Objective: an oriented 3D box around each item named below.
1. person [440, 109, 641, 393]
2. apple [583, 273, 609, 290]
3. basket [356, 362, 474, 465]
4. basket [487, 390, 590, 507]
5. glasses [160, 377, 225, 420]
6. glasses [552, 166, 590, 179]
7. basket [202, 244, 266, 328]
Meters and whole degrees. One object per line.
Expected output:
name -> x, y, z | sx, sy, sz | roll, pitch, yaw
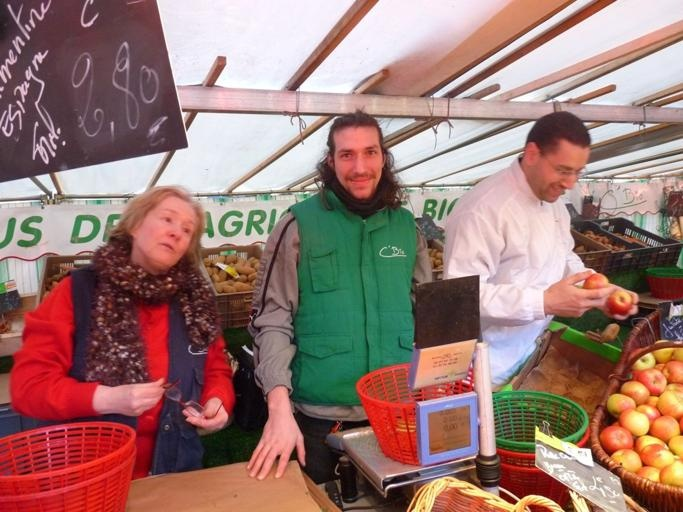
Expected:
person -> 1.273, 0.262, 3.012 | 1.154, 2.195, 0.883 | 6, 31, 20
apple -> 1.373, 0.144, 2.473 | 0.104, 0.102, 0.096 | 3, -8, -41
basket -> 0.253, 0.539, 1.587 | 0.372, 0.179, 0.375 | 0, 3, 16
basket -> 0.710, 0.661, 1.701 | 0.402, 0.292, 0.371 | -1, 3, -28
glasses -> -0.696, 0.663, 2.128 | 0.092, 0.288, 0.095 | -47, 8, 40
glasses -> 1.312, -0.466, 2.624 | 0.185, 0.048, 0.081 | -4, 3, -32
basket -> -1.119, 0.251, 4.864 | 0.711, 0.361, 1.113 | -2, 14, -15
